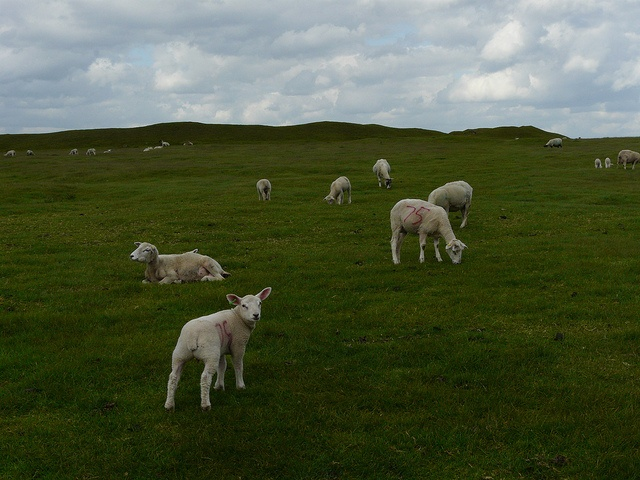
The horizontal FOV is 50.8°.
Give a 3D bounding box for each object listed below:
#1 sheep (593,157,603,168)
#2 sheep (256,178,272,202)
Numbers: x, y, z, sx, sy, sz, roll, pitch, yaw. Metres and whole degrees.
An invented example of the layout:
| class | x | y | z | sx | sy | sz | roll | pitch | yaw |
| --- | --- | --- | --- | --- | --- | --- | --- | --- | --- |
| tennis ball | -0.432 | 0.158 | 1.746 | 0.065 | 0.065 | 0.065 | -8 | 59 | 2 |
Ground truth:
| class | x | y | z | sx | sy | sz | roll | pitch | yaw |
| --- | --- | --- | --- | --- | --- | --- | --- | --- | --- |
| sheep | 26.446 | -7.122 | 63.589 | 0.779 | 1.097 | 2.104 | 1 | -1 | 17 |
| sheep | -3.722 | -3.276 | 44.647 | 0.816 | 1.307 | 1.867 | -2 | 7 | -5 |
